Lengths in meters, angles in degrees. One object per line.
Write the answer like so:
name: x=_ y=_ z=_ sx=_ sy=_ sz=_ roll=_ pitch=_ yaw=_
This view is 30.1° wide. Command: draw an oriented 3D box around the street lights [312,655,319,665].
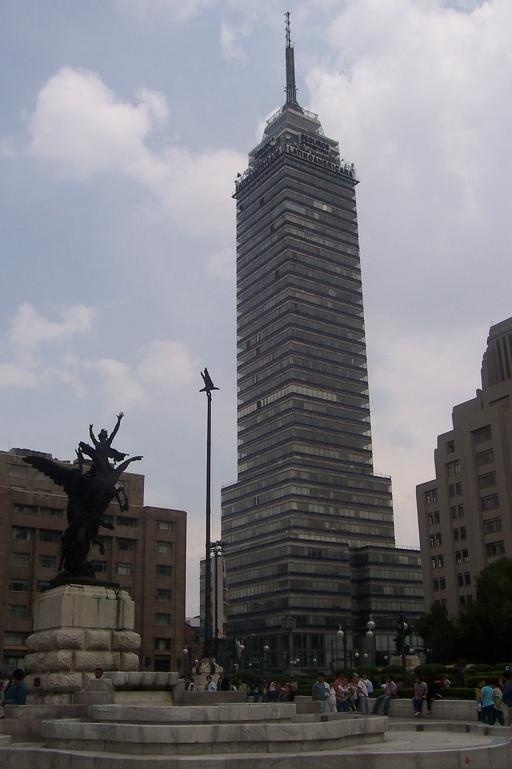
street lights: x=6.967 y=32.201 z=110.359 sx=0.253 sy=1.098 sz=0.989 roll=-14 pitch=-22 yaw=35

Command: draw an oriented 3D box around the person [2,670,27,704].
person: x=-5.380 y=6.802 z=21.287 sx=0.475 sy=0.729 sz=3.136 roll=4 pitch=-18 yaw=-13
